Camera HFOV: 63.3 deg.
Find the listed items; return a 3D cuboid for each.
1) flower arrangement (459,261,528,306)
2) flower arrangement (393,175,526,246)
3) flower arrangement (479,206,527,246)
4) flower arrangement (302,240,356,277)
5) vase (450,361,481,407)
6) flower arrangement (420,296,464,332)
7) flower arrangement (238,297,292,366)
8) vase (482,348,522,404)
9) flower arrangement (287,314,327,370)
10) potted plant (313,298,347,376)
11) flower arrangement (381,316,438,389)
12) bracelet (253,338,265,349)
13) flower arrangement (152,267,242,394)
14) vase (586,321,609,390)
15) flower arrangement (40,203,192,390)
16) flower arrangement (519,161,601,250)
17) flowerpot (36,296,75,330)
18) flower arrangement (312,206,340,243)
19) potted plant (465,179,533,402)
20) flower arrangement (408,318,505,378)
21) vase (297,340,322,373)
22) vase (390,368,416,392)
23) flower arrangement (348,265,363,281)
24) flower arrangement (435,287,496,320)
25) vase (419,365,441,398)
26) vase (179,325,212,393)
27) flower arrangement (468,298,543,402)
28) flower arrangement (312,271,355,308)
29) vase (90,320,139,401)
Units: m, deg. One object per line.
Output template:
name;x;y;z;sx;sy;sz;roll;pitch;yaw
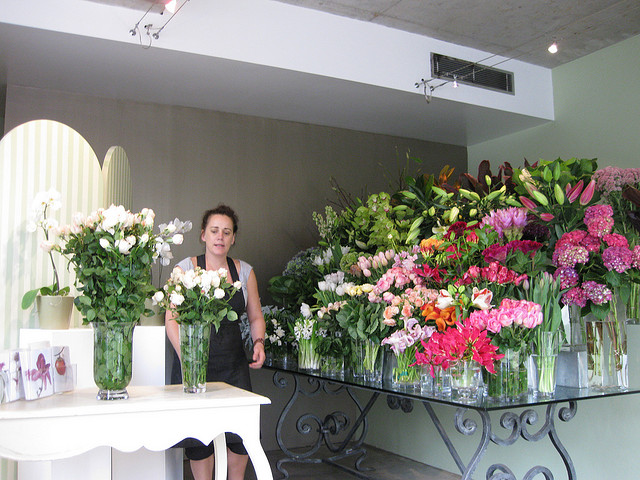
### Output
flower arrangement;0.885;0.200;2.615;0.246;0.202;0.262;-3;-5;-11
flower arrangement;0.967;-0.216;3.311;0.406;0.256;0.619;14;2;-21
flower arrangement;1.069;-0.075;2.928;0.217;0.227;0.226;-17;-24;40
flower arrangement;0.064;0.152;3.920;0.279;0.189;0.281;-26;7;-37
vase;0.718;0.673;2.570;0.150;0.250;0.146;-2;-5;32
flower arrangement;0.638;0.345;2.671;0.206;0.093;0.225;9;22;28
flower arrangement;-0.420;0.697;4.201;0.434;0.536;0.483;-1;0;-37
vase;0.930;0.655;2.666;0.196;0.254;0.211;0;2;-7
flower arrangement;-0.060;0.714;3.602;0.149;0.377;0.404;-1;-5;-24
potted plant;0.101;0.658;3.570;0.277;0.496;0.404;4;-3;-13
flower arrangement;0.479;0.640;3.003;0.372;0.442;0.316;-4;-10;40
bracelet;-0.410;0.681;3.455;0.063;0.028;0.068;-28;-10;13
flower arrangement;-0.568;0.426;2.390;0.337;0.533;0.344;14;-15;-37
vase;1.492;0.620;2.794;0.113;0.355;0.045;-5;-5;31
flower arrangement;-0.846;0.232;2.519;0.655;0.991;0.715;-1;-1;13
flower arrangement;1.396;-0.227;2.925;0.336;0.391;0.349;8;11;-33
flowerpot;-1.506;0.411;3.036;0.199;0.186;0.193;0;-7;2
flower arrangement;0.057;-0.145;4.324;0.258;0.339;0.272;-7;2;-5
potted plant;0.937;0.465;2.685;0.273;0.819;0.332;-6;20;5
flower arrangement;0.658;0.505;2.477;0.288;0.155;0.297;5;-13;-29
vase;-0.078;0.817;3.637;0.189;0.234;0.188;15;-21;-40
vase;0.465;0.783;2.930;0.117;0.133;0.123;-1;4;-17
flower arrangement;0.238;0.196;3.515;0.075;0.051;0.104;14;30;-38
flower arrangement;0.710;0.311;2.574;0.267;0.156;0.129;-4;-4;14
vase;0.582;0.735;2.705;0.150;0.193;0.160;0;-9;18
vase;-0.593;0.551;2.385;0.161;0.293;0.168;-13;-21;21
flower arrangement;0.949;0.549;2.634;0.335;0.500;0.327;3;-4;25
flower arrangement;0.086;0.322;3.465;0.214;0.251;0.223;-7;2;39
vase;-0.895;0.524;2.244;0.200;0.327;0.209;-7;-8;33
